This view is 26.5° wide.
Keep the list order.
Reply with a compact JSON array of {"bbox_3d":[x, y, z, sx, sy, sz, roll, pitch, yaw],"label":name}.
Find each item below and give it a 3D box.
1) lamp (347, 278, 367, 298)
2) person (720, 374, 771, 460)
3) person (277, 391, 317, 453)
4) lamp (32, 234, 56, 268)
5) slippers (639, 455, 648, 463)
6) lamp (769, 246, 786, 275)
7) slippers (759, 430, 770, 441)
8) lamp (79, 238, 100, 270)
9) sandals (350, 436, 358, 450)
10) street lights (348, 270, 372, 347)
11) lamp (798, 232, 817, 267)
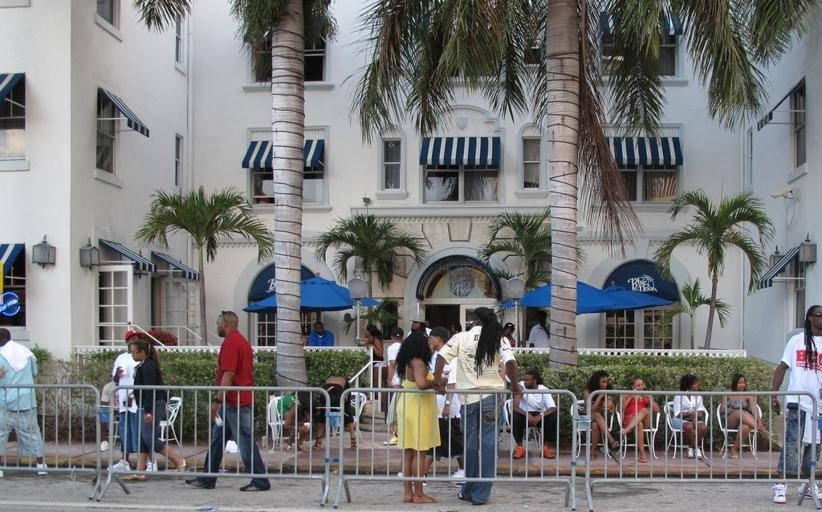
[{"bbox_3d":[-1.503,0.905,48.541,0.432,0.549,0.549,-1,-4,-6],"label":"lamp"},{"bbox_3d":[8.090,3.904,42.924,1.079,2.464,1.038,-4,-2,0],"label":"person"},{"bbox_3d":[-2.877,3.968,43.494,0.947,1.781,1.214,0,0,9],"label":"person"},{"bbox_3d":[-9.872,-0.123,46.975,0.622,0.855,0.319,0,-4,-7],"label":"lamp"},{"bbox_3d":[5.624,4.907,42.517,0.191,0.151,0.535,-1,-4,3],"label":"slippers"},{"bbox_3d":[10.301,0.091,49.571,0.532,0.602,0.547,0,-2,-3],"label":"lamp"},{"bbox_3d":[8.641,4.349,42.850,0.232,0.192,0.560,22,-13,19],"label":"slippers"},{"bbox_3d":[-8.725,-0.065,47.626,0.382,0.787,0.555,-2,-4,21],"label":"lamp"},{"bbox_3d":[-1.439,4.599,43.440,0.203,0.241,0.609,-1,-8,-6],"label":"sandals"},{"bbox_3d":[-1.501,1.542,48.863,0.522,2.334,0.532,-5,26,-11],"label":"street lights"},{"bbox_3d":[10.783,-0.198,47.699,0.289,0.869,0.509,2,-5,-26],"label":"lamp"}]
